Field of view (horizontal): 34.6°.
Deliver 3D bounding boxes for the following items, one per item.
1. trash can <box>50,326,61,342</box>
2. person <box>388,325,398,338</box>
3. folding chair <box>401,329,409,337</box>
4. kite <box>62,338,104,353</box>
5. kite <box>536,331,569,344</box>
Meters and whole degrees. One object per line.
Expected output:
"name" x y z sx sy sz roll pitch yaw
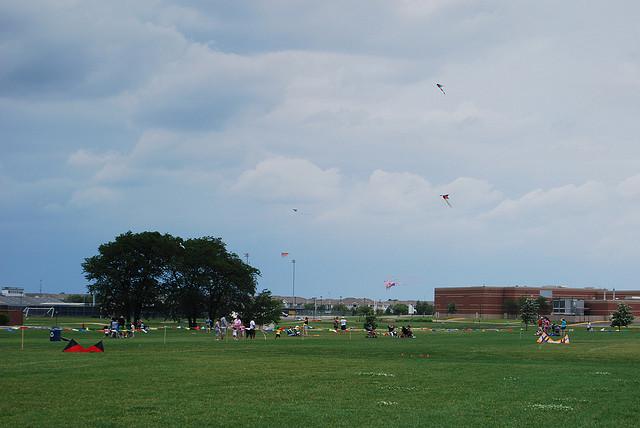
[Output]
"trash can" -24.905 11.331 97.334 1.431 1.231 1.310 4 -12 -35
"person" 7.998 13.191 114.224 0.578 1.477 0.990 -9 8 16
"folding chair" 9.175 12.497 109.268 0.660 0.768 0.860 -2 -3 -2
"kite" -19.431 10.731 84.144 3.195 1.017 2.185 -1 -2 -3
"kite" 22.954 11.910 99.104 3.590 1.162 0.973 -3 1 -11
